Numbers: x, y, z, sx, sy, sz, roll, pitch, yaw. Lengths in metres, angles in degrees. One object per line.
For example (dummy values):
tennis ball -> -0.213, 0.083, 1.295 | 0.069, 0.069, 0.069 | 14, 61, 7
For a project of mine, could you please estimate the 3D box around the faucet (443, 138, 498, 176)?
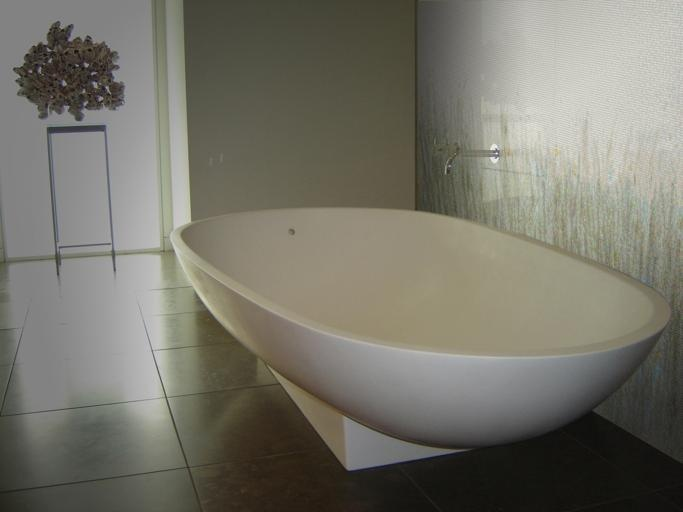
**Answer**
faucet -> 0.694, -0.532, 2.577 | 0.074, 0.152, 0.353 | -15, 21, -30
